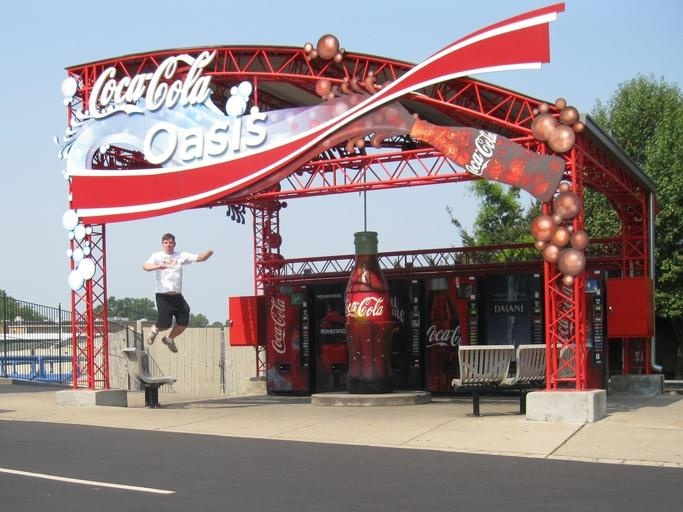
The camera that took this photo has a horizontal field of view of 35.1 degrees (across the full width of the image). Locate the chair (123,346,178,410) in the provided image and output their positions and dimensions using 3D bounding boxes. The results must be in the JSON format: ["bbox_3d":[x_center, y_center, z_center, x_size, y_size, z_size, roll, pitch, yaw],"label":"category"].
[{"bbox_3d":[-4.008,2.521,22.297,1.250,1.528,1.031,1,-4,-31],"label":"chair"}]
